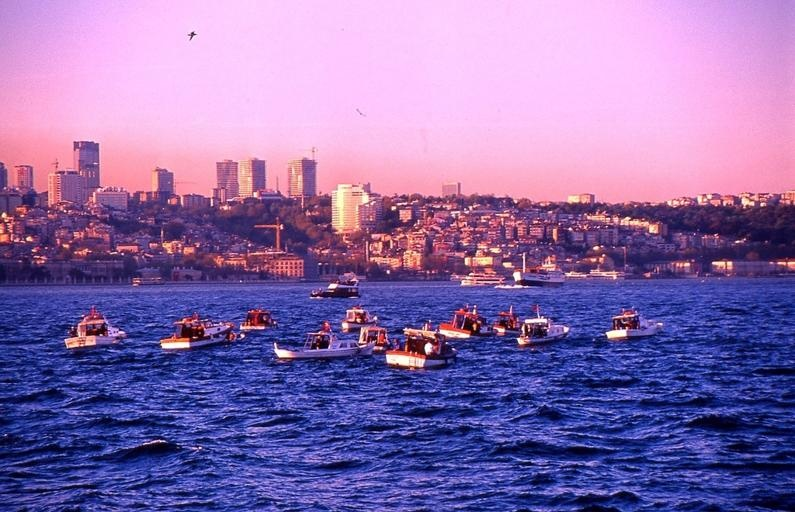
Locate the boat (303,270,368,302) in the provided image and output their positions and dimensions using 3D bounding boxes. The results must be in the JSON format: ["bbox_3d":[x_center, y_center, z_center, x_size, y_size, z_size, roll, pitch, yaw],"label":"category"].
[{"bbox_3d":[-6.945,3.841,188.550,4.469,2.174,5.858,-1,-2,26],"label":"boat"}]

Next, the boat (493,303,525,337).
[{"bbox_3d":[9.286,5.366,139.110,2.105,2.360,5.520,0,-2,8],"label":"boat"}]

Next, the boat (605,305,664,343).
[{"bbox_3d":[18.391,5.246,129.457,2.944,2.441,5.297,-1,-2,25],"label":"boat"}]

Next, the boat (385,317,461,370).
[{"bbox_3d":[1.587,6.548,117.149,4.407,2.742,1.782,0,-2,5],"label":"boat"}]

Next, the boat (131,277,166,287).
[{"bbox_3d":[-38.049,3.732,251.660,4.500,1.521,6.199,0,-2,-7],"label":"boat"}]

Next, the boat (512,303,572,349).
[{"bbox_3d":[10.685,5.763,126.396,2.165,2.121,5.712,-1,-2,29],"label":"boat"}]

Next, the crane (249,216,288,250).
[{"bbox_3d":[-25.993,-4.334,330.138,8.262,6.392,0.629,0,-3,1],"label":"crane"}]

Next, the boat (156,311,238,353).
[{"bbox_3d":[-15.146,5.724,125.587,2.270,2.809,5.753,-2,-2,39],"label":"boat"}]

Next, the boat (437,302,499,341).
[{"bbox_3d":[5.594,5.254,130.225,2.525,1.639,3.826,0,-2,15],"label":"boat"}]

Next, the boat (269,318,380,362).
[{"bbox_3d":[-6.375,6.497,120.708,9.491,3.244,2.722,-3,4,-9],"label":"boat"}]
